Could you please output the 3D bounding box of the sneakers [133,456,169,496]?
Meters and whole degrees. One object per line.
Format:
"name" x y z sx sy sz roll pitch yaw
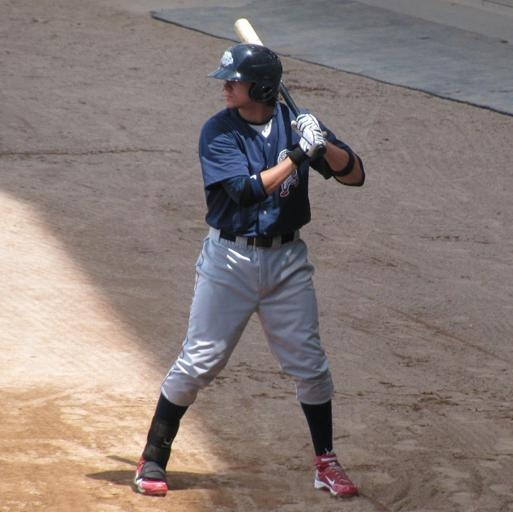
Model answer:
"sneakers" -0.661 1.410 7.343 0.131 0.110 0.298 2 3 -23

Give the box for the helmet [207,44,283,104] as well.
"helmet" -0.069 -1.157 7.420 0.513 0.299 0.341 -12 14 -5

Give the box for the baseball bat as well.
"baseball bat" -0.105 -1.123 7.741 0.153 0.141 1.713 19 20 -47

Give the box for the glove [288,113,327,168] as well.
"glove" 0.308 -0.705 7.294 0.272 0.125 0.324 5 41 -12
